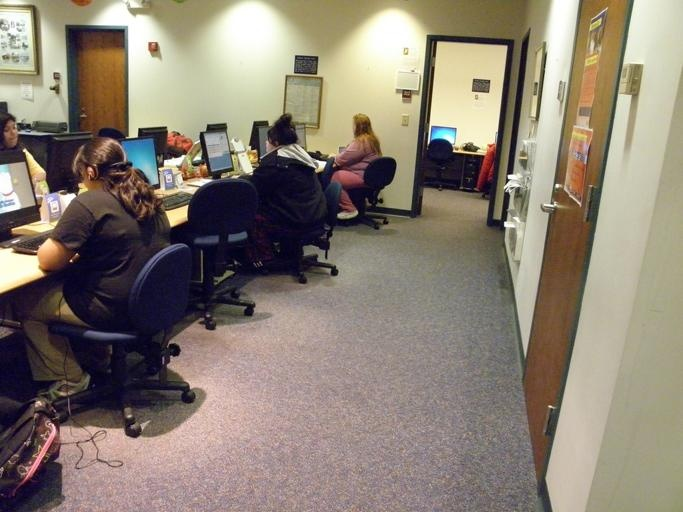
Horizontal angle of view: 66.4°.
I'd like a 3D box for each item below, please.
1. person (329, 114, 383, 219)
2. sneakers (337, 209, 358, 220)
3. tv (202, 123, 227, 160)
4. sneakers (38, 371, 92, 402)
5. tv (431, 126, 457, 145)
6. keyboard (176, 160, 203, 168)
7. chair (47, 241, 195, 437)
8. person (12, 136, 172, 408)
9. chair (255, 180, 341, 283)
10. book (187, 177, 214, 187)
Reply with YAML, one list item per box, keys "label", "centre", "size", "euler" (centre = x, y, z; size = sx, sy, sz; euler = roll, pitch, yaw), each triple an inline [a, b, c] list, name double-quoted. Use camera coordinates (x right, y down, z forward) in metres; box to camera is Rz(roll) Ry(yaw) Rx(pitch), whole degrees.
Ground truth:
- label: "person"
  centre: [0.184, -1.069, 6.448]
  size: [0.588, 1.284, 0.720]
  euler: [1, 20, 0]
- label: "sneakers"
  centre: [0.071, -0.502, 6.365]
  size: [0.257, 0.103, 0.110]
  euler: [-8, 12, -39]
- label: "tv"
  centre: [-1.148, -1.025, 4.734]
  size: [0.062, 0.349, 0.465]
  euler: [-2, 17, 17]
- label: "sneakers"
  centre: [-1.437, 0.695, 2.717]
  size: [0.157, 0.054, 0.130]
  euler: [-13, 18, -32]
- label: "tv"
  centre: [1.773, -2.106, 9.157]
  size: [0.436, 0.330, 0.047]
  euler: [6, 10, 25]
- label: "keyboard"
  centre: [-1.411, -0.863, 4.934]
  size: [0.166, 0.051, 0.123]
  euler: [-6, 9, -19]
- label: "chair"
  centre: [-1.043, 0.280, 3.005]
  size: [0.857, 1.058, 0.863]
  euler: [10, 14, 16]
- label: "person"
  centre: [-1.285, 0.081, 2.685]
  size: [0.806, 1.320, 0.540]
  euler: [-1, 20, -6]
- label: "chair"
  centre: [-0.335, -0.315, 4.927]
  size: [0.846, 0.968, 0.867]
  euler: [7, 15, 15]
- label: "book"
  centre: [-1.179, -0.608, 4.331]
  size: [0.216, 0.057, 0.239]
  euler: [10, 18, 21]
